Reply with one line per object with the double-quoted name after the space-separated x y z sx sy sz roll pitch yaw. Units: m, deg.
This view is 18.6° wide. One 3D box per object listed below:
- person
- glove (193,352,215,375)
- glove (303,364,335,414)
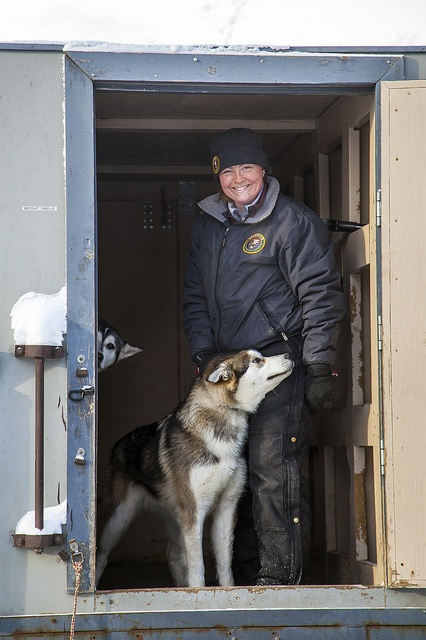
0.248 0.169 6.610 0.466 2.265 0.956 2 -6 -31 "person"
-0.039 0.232 6.760 0.112 0.126 0.090 11 -11 -21 "glove"
0.534 0.326 6.429 0.158 0.334 0.226 1 2 6 "glove"
